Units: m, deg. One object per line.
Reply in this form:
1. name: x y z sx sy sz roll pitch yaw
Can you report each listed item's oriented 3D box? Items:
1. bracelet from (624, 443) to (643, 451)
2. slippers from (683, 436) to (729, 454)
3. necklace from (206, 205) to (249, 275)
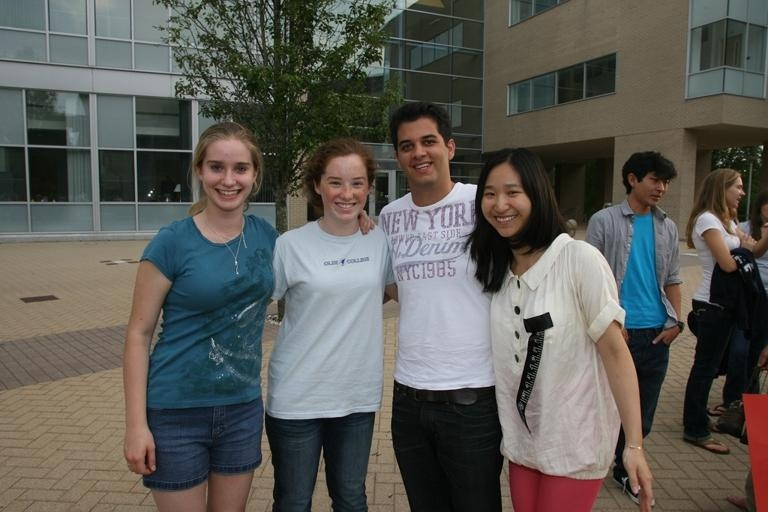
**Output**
1. bracelet: 1.667 1.270 3.907 0.108 0.040 0.071 3 13 13
2. slippers: 3.246 1.899 5.915 0.300 0.098 0.155 4 11 33
3. necklace: -1.098 -0.102 4.072 0.164 0.455 0.062 -5 -13 -15
